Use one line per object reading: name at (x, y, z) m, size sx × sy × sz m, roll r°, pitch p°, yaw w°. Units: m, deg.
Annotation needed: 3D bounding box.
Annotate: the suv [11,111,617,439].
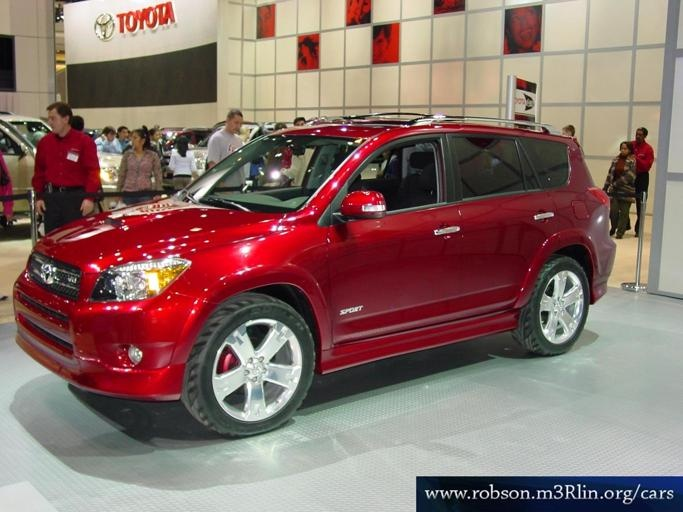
suv at (0.310, -0.203, 4.132) m, size 5.172 × 1.813 × 2.352 m, roll -5°, pitch 10°, yaw -29°
